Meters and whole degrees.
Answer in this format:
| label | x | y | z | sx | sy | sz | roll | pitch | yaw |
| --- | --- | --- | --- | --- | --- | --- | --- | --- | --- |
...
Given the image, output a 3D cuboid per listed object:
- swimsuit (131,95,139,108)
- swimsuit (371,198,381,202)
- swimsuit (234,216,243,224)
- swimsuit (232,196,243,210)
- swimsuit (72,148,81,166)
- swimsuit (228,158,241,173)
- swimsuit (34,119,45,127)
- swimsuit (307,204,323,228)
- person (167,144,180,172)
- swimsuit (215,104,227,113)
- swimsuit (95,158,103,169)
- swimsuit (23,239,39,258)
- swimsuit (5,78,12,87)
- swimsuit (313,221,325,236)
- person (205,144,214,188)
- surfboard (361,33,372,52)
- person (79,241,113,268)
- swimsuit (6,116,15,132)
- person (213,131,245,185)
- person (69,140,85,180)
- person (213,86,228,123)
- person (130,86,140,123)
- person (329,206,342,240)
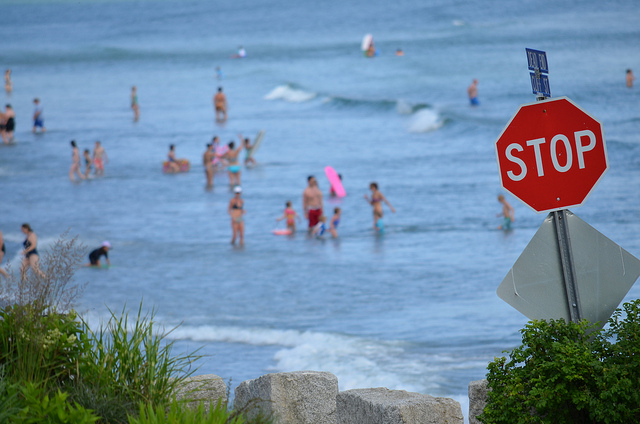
| label | x | y | z | sx | sy | sz | roll | pitch | yaw |
| --- | --- | --- | --- | --- | --- | --- | --- | --- | --- |
| swimsuit | -5.135 | -3.285 | 38.661 | 0.202 | 0.322 | 0.121 | -3 | 1 | -8 |
| swimsuit | 1.532 | -0.427 | 36.672 | 0.238 | 0.085 | 0.116 | -3 | 1 | 11 |
| swimsuit | -2.135 | 0.109 | 36.659 | 0.174 | 0.137 | 0.180 | 0 | 8 | 22 |
| swimsuit | -2.146 | -0.284 | 36.449 | 0.241 | 0.243 | 0.232 | -1 | 5 | 20 |
| swimsuit | -6.683 | -1.661 | 38.154 | 0.205 | 0.463 | 0.081 | -4 | 1 | -17 |
| swimsuit | -2.297 | -1.410 | 37.827 | 0.314 | 0.357 | 0.363 | -3 | 1 | -4 |
| swimsuit | -7.793 | -2.646 | 38.523 | 0.283 | 0.187 | 0.156 | 4 | -9 | -11 |
| swimsuit | -0.106 | -0.009 | 36.392 | 0.359 | 0.505 | 0.449 | -3 | 1 | -2 |
| person | -4.004 | -1.602 | 38.057 | 0.349 | 0.692 | 0.356 | -4 | 1 | -17 |
| swimsuit | -2.713 | -3.054 | 38.393 | 0.170 | 0.219 | 0.085 | -3 | 28 | 4 |
| swimsuit | -6.074 | -1.486 | 38.124 | 0.295 | 0.397 | 0.241 | 1 | 0 | -11 |
| swimsuit | -6.838 | 0.794 | 32.801 | 0.271 | 0.464 | 0.358 | -4 | -29 | -41 |
| swimsuit | -8.630 | -3.808 | 38.463 | 0.178 | 0.235 | 0.071 | -3 | 2 | -4 |
| swimsuit | 0.032 | 0.347 | 36.531 | 0.250 | 0.336 | 0.102 | 39 | 23 | 24 |
| person | -2.974 | -1.403 | 37.809 | 0.265 | 1.063 | 0.365 | -3 | 1 | -6 |
| surfboard | 1.328 | -4.928 | 38.396 | 0.318 | 0.449 | 0.142 | -3 | 1 | 2 |
| person | -5.940 | 1.069 | 37.059 | 0.909 | 0.659 | 0.413 | -4 | 1 | -23 |
| swimsuit | -8.550 | -2.616 | 38.326 | 0.243 | 0.387 | 0.162 | -4 | 1 | -18 |
| person | -2.437 | -1.620 | 38.001 | 0.757 | 1.323 | 0.618 | -3 | 1 | 16 |
| person | -6.705 | -1.572 | 38.186 | 0.403 | 1.028 | 0.361 | -4 | 1 | -10 |
| person | -2.733 | -3.159 | 38.437 | 0.356 | 0.913 | 0.277 | -4 | 1 | -9 |
| person | -5.154 | -3.176 | 38.642 | 0.248 | 0.951 | 0.394 | -3 | 1 | -8 |
| person | 0.439 | 0.215 | 36.695 | 0.322 | 0.750 | 0.629 | -3 | 1 | 0 |
